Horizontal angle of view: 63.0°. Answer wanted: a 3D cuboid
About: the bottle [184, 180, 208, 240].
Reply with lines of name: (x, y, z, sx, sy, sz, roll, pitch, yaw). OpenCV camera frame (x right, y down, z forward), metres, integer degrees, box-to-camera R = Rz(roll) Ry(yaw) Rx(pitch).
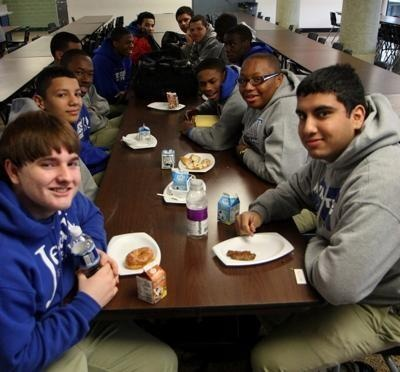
bottle: (-0.010, 0.095, 1.458, 0.097, 0.239, 0.169, -1, 25, -2)

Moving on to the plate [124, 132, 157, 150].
plate: (-0.457, -0.320, 2.492, 0.187, 0.032, 0.173, 1, 33, -8)

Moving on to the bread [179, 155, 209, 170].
bread: (-0.022, -0.149, 2.124, 0.128, 0.035, 0.131, -2, 32, -5)

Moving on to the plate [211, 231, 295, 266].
plate: (0.217, 0.266, 1.380, 0.205, 0.021, 0.147, -4, 25, -9)
